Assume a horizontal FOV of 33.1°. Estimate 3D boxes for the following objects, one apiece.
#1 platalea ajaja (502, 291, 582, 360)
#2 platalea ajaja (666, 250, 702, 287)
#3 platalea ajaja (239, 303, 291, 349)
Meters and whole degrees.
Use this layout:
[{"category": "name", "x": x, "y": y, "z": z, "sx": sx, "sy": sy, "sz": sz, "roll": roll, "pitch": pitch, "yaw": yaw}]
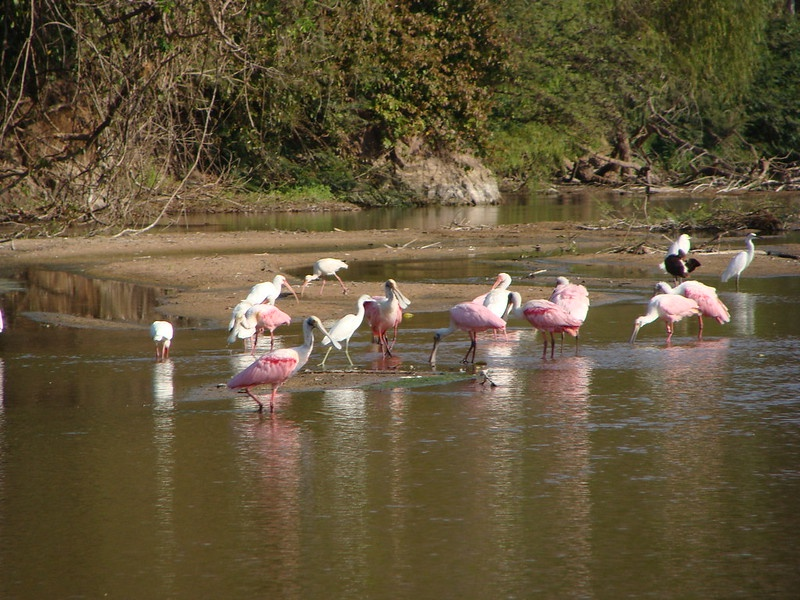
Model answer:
[{"category": "platalea ajaja", "x": 2.454, "y": 0.422, "z": 23.344, "sx": 1.064, "sy": 1.030, "sz": 1.746, "roll": -2, "pitch": 11, "yaw": -2}, {"category": "platalea ajaja", "x": 6.696, "y": -0.831, "z": 31.682, "sx": 0.580, "sy": 0.763, "sz": 1.357, "roll": -7, "pitch": -3, "yaw": 1}, {"category": "platalea ajaja", "x": -2.428, "y": 0.426, "z": 23.619, "sx": 0.538, "sy": 0.632, "sz": 1.201, "roll": 3, "pitch": 4, "yaw": 43}]
